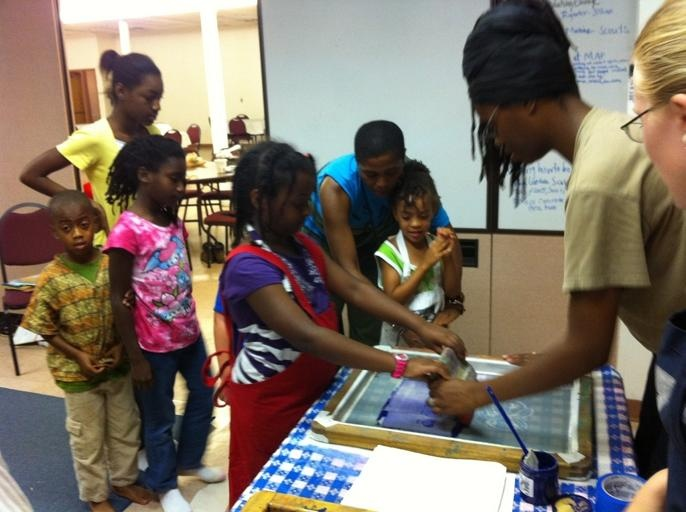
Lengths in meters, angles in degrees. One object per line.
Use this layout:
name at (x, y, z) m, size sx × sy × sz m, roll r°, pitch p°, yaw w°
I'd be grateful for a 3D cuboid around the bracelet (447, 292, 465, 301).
bracelet at (0.520, 0.191, 2.459) m, size 0.071 × 0.029 × 0.043 m, roll -2°, pitch 5°, yaw -20°

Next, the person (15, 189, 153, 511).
person at (-1.143, 0.440, 2.317) m, size 0.382 × 1.426 × 0.304 m, roll -11°, pitch 12°, yaw -28°

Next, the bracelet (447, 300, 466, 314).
bracelet at (0.505, 0.242, 2.393) m, size 0.057 × 0.028 × 0.071 m, roll 14°, pitch 34°, yaw 2°

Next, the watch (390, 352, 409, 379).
watch at (0.163, 0.323, 1.529) m, size 0.044 × 0.063 × 0.065 m, roll 4°, pitch 45°, yaw 6°

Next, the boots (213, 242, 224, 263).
boots at (-1.455, -0.028, 6.215) m, size 0.139 × 0.228 × 0.236 m, roll 0°, pitch -10°, yaw -6°

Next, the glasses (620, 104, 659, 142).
glasses at (0.574, -0.260, 1.049) m, size 0.064 × 0.019 × 0.066 m, roll -21°, pitch 35°, yaw 47°

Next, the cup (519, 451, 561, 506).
cup at (0.452, 0.528, 1.289) m, size 0.102 × 0.112 × 0.112 m, roll -5°, pitch 24°, yaw 2°

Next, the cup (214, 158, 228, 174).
cup at (-1.479, -1.073, 6.371) m, size 0.205 × 0.165 × 0.203 m, roll -2°, pitch 19°, yaw 1°
